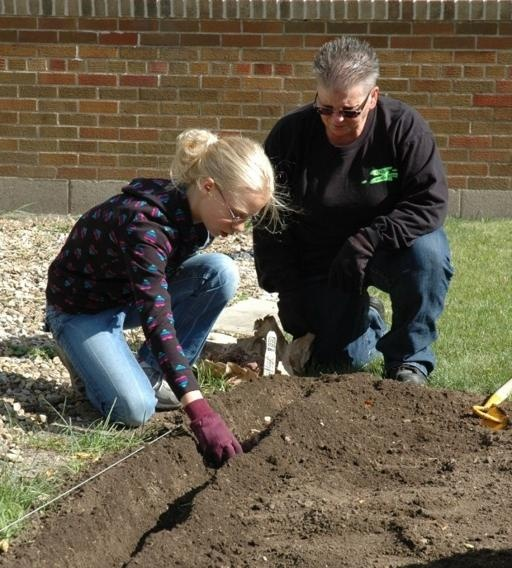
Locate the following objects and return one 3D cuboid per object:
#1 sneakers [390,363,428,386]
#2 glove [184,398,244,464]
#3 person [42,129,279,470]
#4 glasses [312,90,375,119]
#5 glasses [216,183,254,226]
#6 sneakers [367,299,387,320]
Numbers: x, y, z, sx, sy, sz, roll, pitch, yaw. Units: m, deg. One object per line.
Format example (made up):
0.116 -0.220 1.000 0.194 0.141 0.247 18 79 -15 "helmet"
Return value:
0.760 0.452 3.736 0.185 0.086 0.177 0 12 9 "sneakers"
-0.154 0.576 2.858 0.187 0.310 0.110 -13 18 -34 "glove"
-0.408 0.016 3.207 0.958 1.341 1.176 -7 14 -16 "person"
0.404 -0.860 3.583 0.292 0.140 0.222 1 12 13 "glasses"
-0.135 -0.320 3.030 0.056 0.147 0.166 -28 -9 21 "glasses"
0.744 0.152 4.595 0.127 0.068 0.154 26 5 2 "sneakers"
